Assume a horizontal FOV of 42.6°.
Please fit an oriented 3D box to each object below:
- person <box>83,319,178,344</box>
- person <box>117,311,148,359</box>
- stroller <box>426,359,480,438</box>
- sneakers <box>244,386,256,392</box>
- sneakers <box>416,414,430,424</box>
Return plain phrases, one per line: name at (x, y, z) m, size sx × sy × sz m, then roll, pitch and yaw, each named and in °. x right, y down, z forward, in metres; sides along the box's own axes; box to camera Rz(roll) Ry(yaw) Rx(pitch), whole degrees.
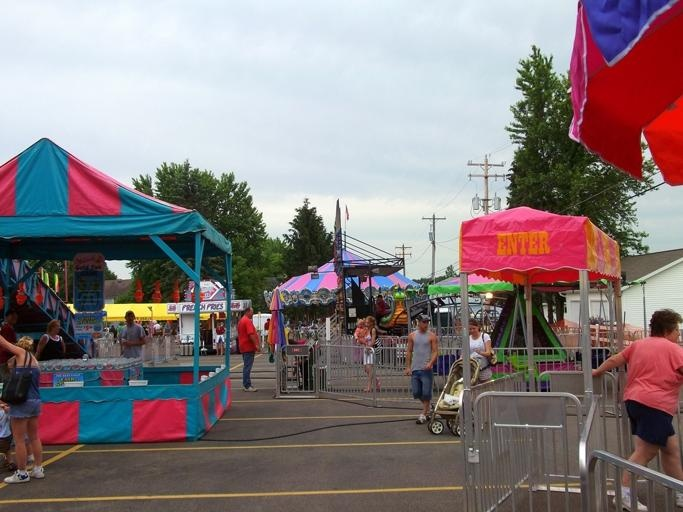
person at (-7.085, 2.560, 29.654) m, size 2.387 × 0.895 × 1.387 m, roll -1°, pitch -9°, yaw -8°
person at (-4.793, 1.814, 19.787) m, size 0.568 × 1.097 × 0.522 m, roll 0°, pitch 3°, yaw 24°
stroller at (1.988, 2.511, 15.534) m, size 0.937 × 1.348 × 1.754 m, roll -1°, pitch -5°, yaw 6°
sneakers at (-2.333, 3.361, 22.211) m, size 0.305 × 0.151 × 0.122 m, roll -1°, pitch -2°, yaw 7°
sneakers at (1.554, 3.111, 16.759) m, size 0.126 × 0.166 × 0.369 m, roll -8°, pitch -16°, yaw 23°
